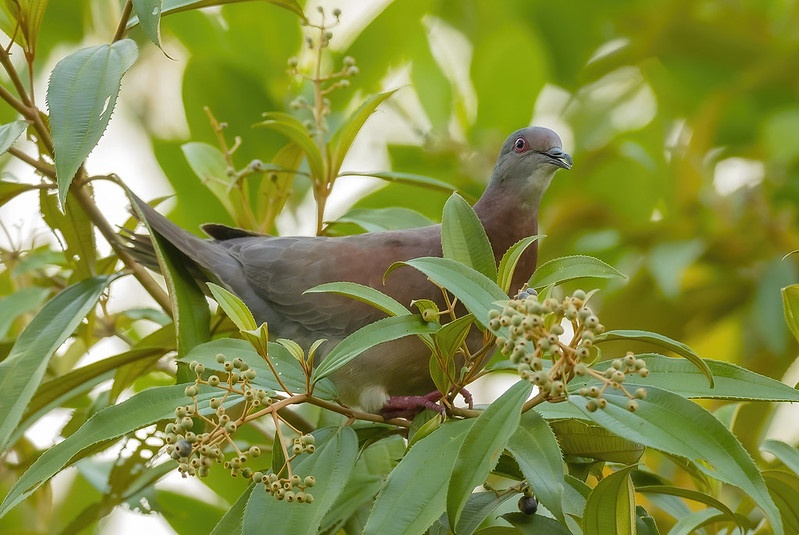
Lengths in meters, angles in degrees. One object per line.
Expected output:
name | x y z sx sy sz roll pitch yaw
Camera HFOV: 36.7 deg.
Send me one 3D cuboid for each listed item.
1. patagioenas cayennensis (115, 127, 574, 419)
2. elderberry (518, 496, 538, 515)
patagioenas cayennensis | -0.202 0.056 3.924 1.467 0.951 0.514 0 -7 12
elderberry | 0.351 0.643 3.261 0.058 0.053 0.041 4 6 -11
